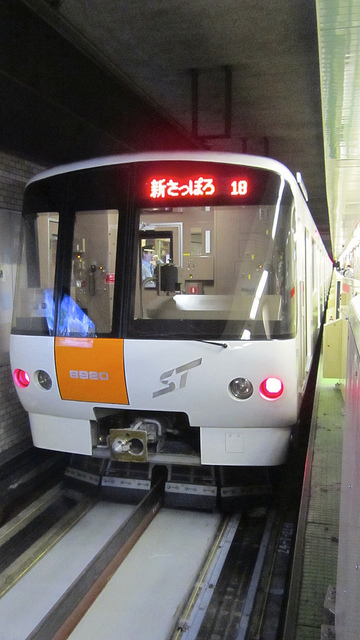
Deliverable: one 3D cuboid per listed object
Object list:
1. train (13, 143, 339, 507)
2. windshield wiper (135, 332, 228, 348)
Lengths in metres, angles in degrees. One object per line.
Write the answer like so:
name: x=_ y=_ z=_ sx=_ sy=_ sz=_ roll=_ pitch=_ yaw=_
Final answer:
train: x=-0.193 y=-1.010 z=5.635 sx=2.247 sy=3.087 sz=5.805 roll=2 pitch=23 yaw=3
windshield wiper: x=-0.044 y=0.165 z=2.991 sx=0.454 sy=0.112 sz=0.027 roll=3 pitch=-5 yaw=12
